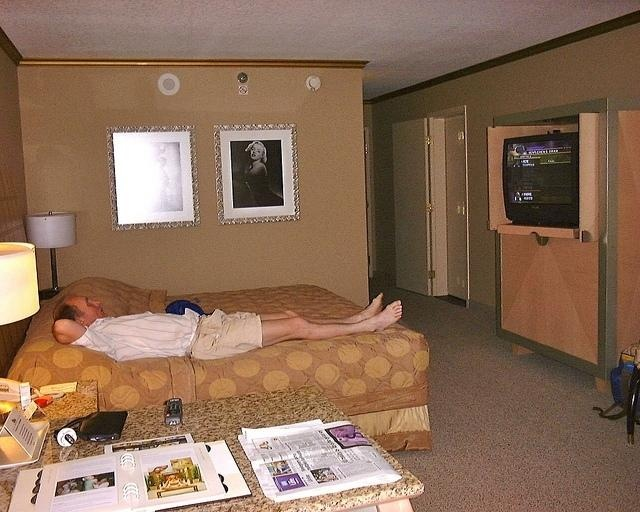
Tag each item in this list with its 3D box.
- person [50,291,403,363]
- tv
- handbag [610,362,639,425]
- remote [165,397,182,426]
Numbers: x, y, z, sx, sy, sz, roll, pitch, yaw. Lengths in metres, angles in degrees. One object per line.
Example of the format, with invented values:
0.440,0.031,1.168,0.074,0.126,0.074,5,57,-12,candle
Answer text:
-0.630,0.457,3.067,1.719,0.340,0.770,-2,5,-12,person
1.823,-0.644,3.991,0.399,0.684,0.719,-7,14,-18,tv
2.049,0.884,3.267,0.088,0.379,0.476,0,9,16,handbag
-0.508,0.538,1.684,0.043,0.029,0.099,0,23,-3,remote
